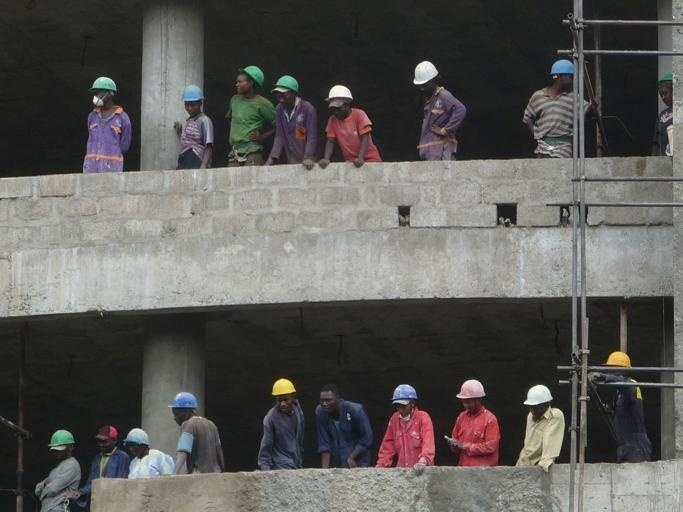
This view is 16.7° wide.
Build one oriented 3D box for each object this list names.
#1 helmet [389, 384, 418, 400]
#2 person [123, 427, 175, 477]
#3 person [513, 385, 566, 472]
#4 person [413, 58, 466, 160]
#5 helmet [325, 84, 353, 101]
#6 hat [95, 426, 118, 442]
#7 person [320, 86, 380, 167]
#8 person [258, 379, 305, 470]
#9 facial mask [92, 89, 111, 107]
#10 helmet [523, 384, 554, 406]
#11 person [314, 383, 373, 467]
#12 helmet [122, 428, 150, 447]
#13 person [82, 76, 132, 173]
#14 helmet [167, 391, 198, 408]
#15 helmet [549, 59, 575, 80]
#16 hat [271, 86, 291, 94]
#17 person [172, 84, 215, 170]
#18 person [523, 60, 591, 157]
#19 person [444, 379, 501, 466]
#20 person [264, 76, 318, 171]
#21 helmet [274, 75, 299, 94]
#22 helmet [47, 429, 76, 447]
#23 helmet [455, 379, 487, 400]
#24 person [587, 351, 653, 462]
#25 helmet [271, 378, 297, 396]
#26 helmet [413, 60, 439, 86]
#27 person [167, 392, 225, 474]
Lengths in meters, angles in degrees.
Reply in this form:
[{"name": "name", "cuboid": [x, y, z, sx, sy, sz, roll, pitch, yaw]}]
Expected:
[{"name": "helmet", "cuboid": [0.852, 1.740, 30.075, 0.316, 0.161, 0.236, 9, -13, -40]}, {"name": "person", "cuboid": [-2.496, 2.549, 30.295, 0.707, 0.609, 0.497, -2, -5, 15]}, {"name": "person", "cuboid": [2.482, 2.184, 29.715, 0.580, 1.070, 0.641, -5, -7, 37]}, {"name": "person", "cuboid": [1.305, -1.903, 31.172, 0.674, 1.371, 0.527, -2, -5, 10]}, {"name": "helmet", "cuboid": [0.031, -2.179, 31.195, 0.287, 0.197, 0.365, -4, -11, 26]}, {"name": "hat", "cuboid": [-3.107, 2.378, 31.238, 0.335, 0.177, 0.231, 4, -7, -8]}, {"name": "person", "cuboid": [0.113, -1.722, 31.119, 0.770, 1.126, 0.909, -1, -5, 0]}, {"name": "person", "cuboid": [-0.756, 2.153, 29.946, 0.563, 1.150, 0.443, 0, -5, -7]}, {"name": "facial mask", "cuboid": [-3.217, -2.111, 31.782, 0.222, 0.128, 0.167, -33, 17, -28]}, {"name": "helmet", "cuboid": [2.553, 1.776, 29.920, 0.266, 0.182, 0.337, -2, -4, 39]}, {"name": "person", "cuboid": [0.049, 2.282, 30.209, 0.680, 1.209, 0.657, 4, 15, 9]}, {"name": "helmet", "cuboid": [-2.669, 2.363, 30.482, 0.294, 0.175, 0.213, 3, -1, 5]}, {"name": "person", "cuboid": [-3.169, -1.753, 31.743, 0.621, 1.340, 0.449, 0, -5, -6]}, {"name": "helmet", "cuboid": [-2.009, 1.852, 30.127, 0.284, 0.136, 0.217, 4, -4, 1]}, {"name": "helmet", "cuboid": [2.947, -2.468, 31.274, 0.324, 0.177, 0.256, -2, 4, 0]}, {"name": "hat", "cuboid": [-0.826, -2.194, 31.351, 0.155, 0.094, 0.308, 4, -7, -43]}, {"name": "person", "cuboid": [-1.948, -1.717, 31.551, 0.335, 1.169, 0.535, 3, -7, -37]}, {"name": "person", "cuboid": [2.768, -1.924, 31.146, 0.625, 1.331, 0.441, -2, -5, 12]}, {"name": "person", "cuboid": [1.698, 2.136, 29.953, 0.594, 1.076, 0.538, -1, -5, 8]}, {"name": "person", "cuboid": [-0.625, -1.793, 31.228, 0.703, 1.162, 0.450, -2, -5, 17]}, {"name": "helmet", "cuboid": [-0.698, -2.262, 31.424, 0.282, 0.213, 0.386, 5, -2, 42]}, {"name": "helmet", "cuboid": [-3.710, 2.469, 31.670, 0.369, 0.261, 0.454, -5, -11, 24]}, {"name": "helmet", "cuboid": [1.668, 1.721, 30.034, 0.332, 0.182, 0.258, 6, -6, -31]}, {"name": "person", "cuboid": [3.568, 1.917, 29.892, 0.711, 1.435, 1.364, -1, -5, 7]}, {"name": "helmet", "cuboid": [-0.737, 1.693, 30.125, 0.245, 0.159, 0.308, -2, -10, -1]}, {"name": "helmet", "cuboid": [1.182, -2.404, 31.334, 0.297, 0.217, 0.396, -4, 28, 43]}, {"name": "person", "cuboid": [-1.821, 2.258, 29.904, 0.647, 1.040, 0.926, 0, -5, -5]}]
